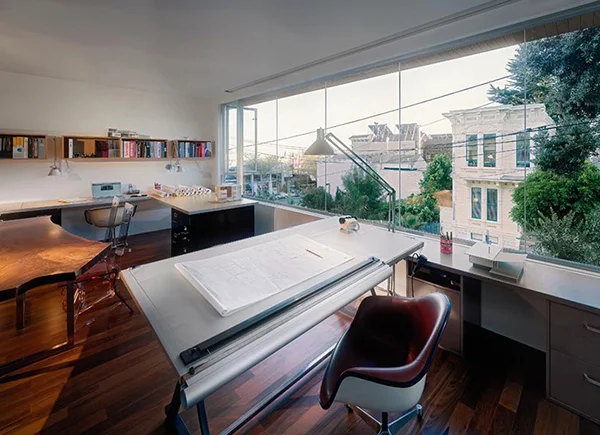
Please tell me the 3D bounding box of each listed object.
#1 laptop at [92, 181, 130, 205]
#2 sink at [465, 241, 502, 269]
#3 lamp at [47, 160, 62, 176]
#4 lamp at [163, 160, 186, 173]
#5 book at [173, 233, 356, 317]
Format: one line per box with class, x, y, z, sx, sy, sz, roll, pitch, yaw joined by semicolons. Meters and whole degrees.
laptop;-2.951;-0.398;5.640;0.611;0.361;0.399;-4;5;-44
sink;1.610;0.265;3.197;0.195;0.115;0.330;10;20;41
lamp;-3.542;-0.709;5.250;0.185;0.240;0.308;-8;10;-34
lamp;-2.144;-0.857;6.151;0.281;0.135;0.153;4;3;-13
book;-0.286;0.407;2.789;0.835;0.093;0.596;-12;19;-36
